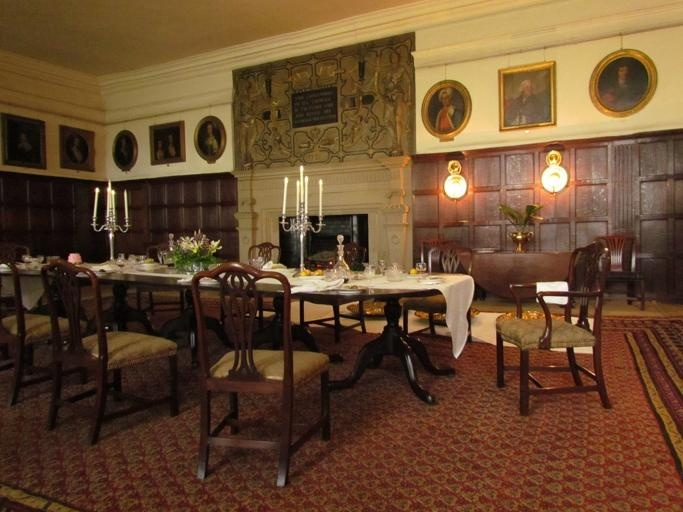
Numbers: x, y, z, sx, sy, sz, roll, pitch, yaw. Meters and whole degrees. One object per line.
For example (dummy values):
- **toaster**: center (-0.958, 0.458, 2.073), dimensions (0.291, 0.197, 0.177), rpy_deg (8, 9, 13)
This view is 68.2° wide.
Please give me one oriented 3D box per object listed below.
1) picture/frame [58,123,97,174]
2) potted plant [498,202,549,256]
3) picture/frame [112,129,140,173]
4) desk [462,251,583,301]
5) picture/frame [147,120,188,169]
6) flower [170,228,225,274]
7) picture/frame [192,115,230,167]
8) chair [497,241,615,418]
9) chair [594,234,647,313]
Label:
- **picture/frame**: center (-5.628, -2.264, 10.730), dimensions (0.880, 0.904, 0.055), rpy_deg (10, 16, 11)
- **potted plant**: center (2.792, -0.432, 7.877), dimensions (0.667, 0.726, 0.712), rpy_deg (12, -13, -39)
- **picture/frame**: center (-4.756, -2.336, 11.116), dimensions (0.821, 0.977, 0.069), rpy_deg (11, 13, 32)
- **desk**: center (2.559, 0.353, 7.400), dimensions (1.388, 0.692, 0.478), rpy_deg (0, -16, 39)
- **picture/frame**: center (-3.721, -2.382, 10.707), dimensions (0.985, 0.849, 0.056), rpy_deg (0, 4, 24)
- **flower**: center (-1.460, -0.004, 4.986), dimensions (0.499, 0.373, 0.463), rpy_deg (-1, 1, -40)
- **picture/frame**: center (-2.640, -2.363, 10.238), dimensions (0.926, 1.092, 0.115), rpy_deg (10, 13, 37)
- **chair**: center (1.751, 0.556, 4.207), dimensions (0.863, 1.296, 0.861), rpy_deg (-1, 2, 17)
- **chair**: center (3.997, 0.233, 7.271), dimensions (0.668, 0.998, 0.688), rpy_deg (3, 7, 31)
